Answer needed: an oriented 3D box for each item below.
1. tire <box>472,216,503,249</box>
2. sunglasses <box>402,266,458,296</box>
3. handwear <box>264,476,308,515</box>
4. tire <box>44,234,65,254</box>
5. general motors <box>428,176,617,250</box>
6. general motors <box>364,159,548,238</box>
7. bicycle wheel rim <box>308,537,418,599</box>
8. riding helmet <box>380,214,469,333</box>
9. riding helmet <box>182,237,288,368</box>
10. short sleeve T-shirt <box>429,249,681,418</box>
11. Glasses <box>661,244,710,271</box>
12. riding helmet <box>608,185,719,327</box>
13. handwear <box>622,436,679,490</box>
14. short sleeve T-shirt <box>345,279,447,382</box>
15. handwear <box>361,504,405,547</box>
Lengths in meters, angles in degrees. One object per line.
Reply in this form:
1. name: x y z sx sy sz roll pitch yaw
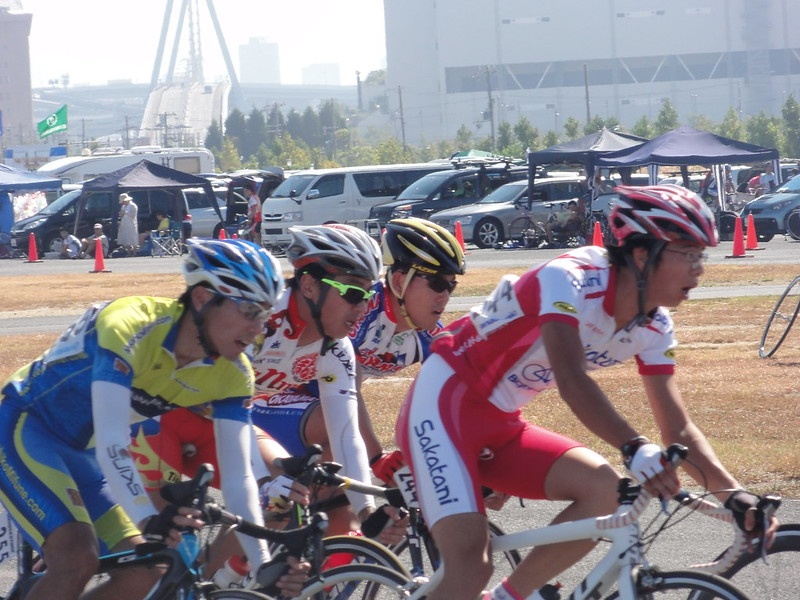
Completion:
1. tire: 1.717 -1.360 25.228 0.644 0.600 0.224 0 14 -2
2. sunglasses: 0.155 -0.095 6.563 0.203 0.065 0.150 3 -6 23
3. handwear: -0.534 0.912 5.942 0.263 0.123 0.182 -4 -22 -5
4. tire: -7.711 -1.264 28.311 0.373 0.354 0.121 21 2 3
5. general motors: 2.316 -1.754 25.553 3.264 1.111 1.445 -3 2 -19
6. general motors: 1.321 -2.196 28.060 3.561 1.578 1.600 -4 15 -22
7. bicycle wheel rim: -0.203 1.258 6.032 0.409 0.288 0.116 4 52 -2
8. riding helmet: 0.100 -0.138 6.693 0.573 0.520 0.441 12 -3 27
9. riding helmet: -0.808 -0.059 5.902 0.506 0.463 0.392 13 12 19
10. short sleeve T-shirt: 0.936 0.238 5.964 0.659 0.583 0.371 23 8 -3
11. Glasses: 1.272 -0.201 5.682 0.181 0.107 0.180 0 10 13
12. riding helmet: 1.114 -0.281 5.854 0.626 0.766 0.487 1 -1 24
13. handwear: 1.020 0.680 5.403 0.237 0.087 0.176 43 11 20
14. short sleeve T-shirt: -0.024 0.027 6.777 0.513 0.626 0.411 15 26 6
15. handwear: -0.064 1.074 6.153 0.215 0.159 0.080 -39 0 31
